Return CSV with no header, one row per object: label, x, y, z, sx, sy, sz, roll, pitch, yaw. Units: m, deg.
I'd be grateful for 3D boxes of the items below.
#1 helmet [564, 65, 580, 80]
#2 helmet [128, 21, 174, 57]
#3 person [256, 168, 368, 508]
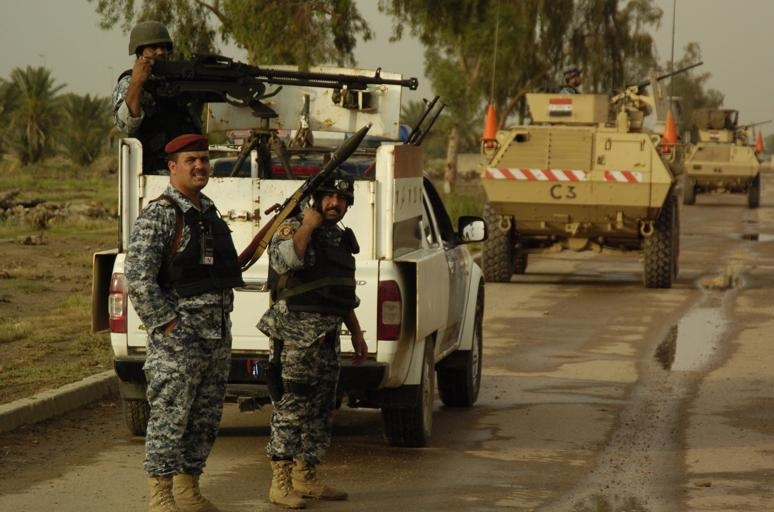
helmet,3.239,-3.181,21.593,0.310,0.125,0.235,-23,20,-36
helmet,-2.319,-2.110,12.128,0.457,0.353,0.456,2,9,30
person,-0.674,0.723,10.944,0.883,2.913,0.609,0,11,-6
